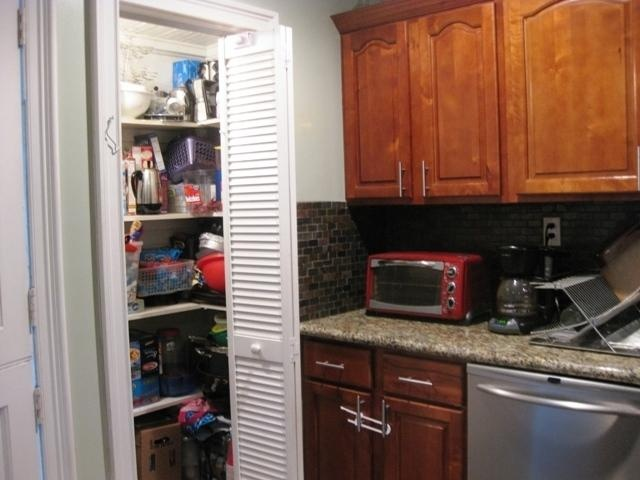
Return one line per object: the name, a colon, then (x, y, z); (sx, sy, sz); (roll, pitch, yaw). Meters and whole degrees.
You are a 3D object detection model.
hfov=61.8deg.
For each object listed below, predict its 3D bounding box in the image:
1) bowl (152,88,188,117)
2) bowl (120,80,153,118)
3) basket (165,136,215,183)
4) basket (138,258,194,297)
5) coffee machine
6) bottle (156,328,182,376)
bowl: (-0.830, -0.758, 2.997); (0.142, 0.194, 0.090); (-2, -20, 9)
bowl: (-0.977, -0.747, 2.899); (0.191, 0.137, 0.194); (-3, 9, 0)
basket: (-0.731, -0.454, 3.156); (0.269, 0.204, 0.210); (-5, -12, 38)
basket: (-0.829, 0.209, 2.939); (0.237, 0.122, 0.161); (-3, 4, -42)
coffee machine: (0.877, 0.242, 2.412); (0.377, 0.451, 0.266); (3, -7, -31)
bottle: (-0.832, 0.622, 3.030); (0.141, 0.232, 0.154); (-5, 8, 1)
